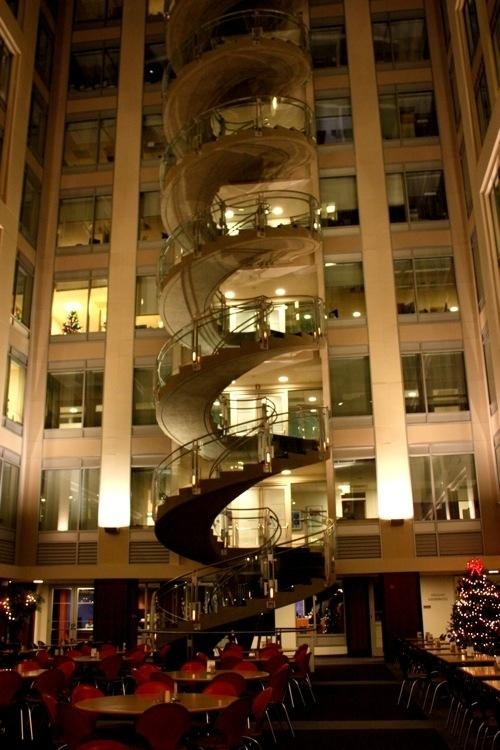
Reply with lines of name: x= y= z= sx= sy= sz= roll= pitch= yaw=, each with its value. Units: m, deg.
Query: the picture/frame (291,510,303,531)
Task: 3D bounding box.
picture/frame: x=1.203 y=3.854 z=17.906 sx=0.195 sy=0.514 sz=0.489 roll=-1 pitch=-18 yaw=-5

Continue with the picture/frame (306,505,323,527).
picture/frame: x=1.571 y=3.420 z=16.278 sx=0.418 sy=0.440 sz=0.417 roll=3 pitch=-6 yaw=-22
